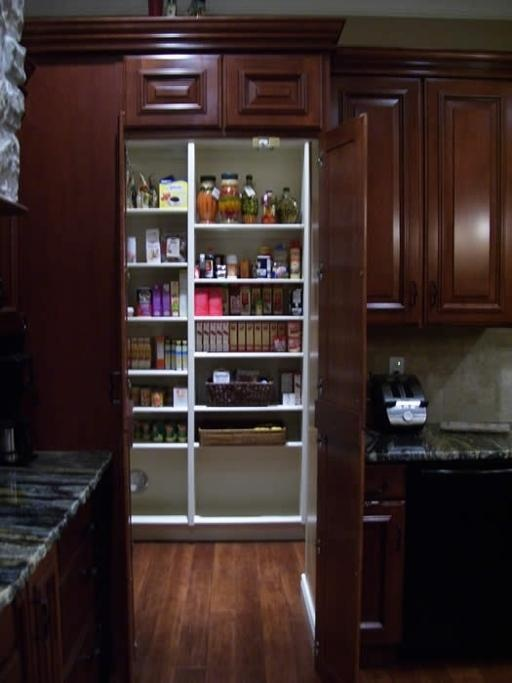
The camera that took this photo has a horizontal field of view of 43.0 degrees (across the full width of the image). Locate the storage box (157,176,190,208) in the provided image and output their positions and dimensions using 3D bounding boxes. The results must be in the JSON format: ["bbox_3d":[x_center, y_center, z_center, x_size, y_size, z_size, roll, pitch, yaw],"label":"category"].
[{"bbox_3d":[-0.424,-0.760,3.332,0.114,0.201,0.051,2,6,6],"label":"storage box"}]

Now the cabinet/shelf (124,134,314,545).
[{"bbox_3d":[-0.223,0.004,3.484,1.019,2.075,0.553,1,6,7],"label":"cabinet/shelf"}]

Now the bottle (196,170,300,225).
[{"bbox_3d":[-0.042,-0.756,3.461,0.559,0.255,0.253,-2,9,-9],"label":"bottle"}]

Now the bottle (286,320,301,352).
[{"bbox_3d":[0.204,-0.021,3.546,0.089,0.269,0.105,-1,3,-4],"label":"bottle"}]

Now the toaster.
[{"bbox_3d":[0.587,0.279,2.680,0.132,0.263,0.300,-1,-8,2],"label":"toaster"}]
